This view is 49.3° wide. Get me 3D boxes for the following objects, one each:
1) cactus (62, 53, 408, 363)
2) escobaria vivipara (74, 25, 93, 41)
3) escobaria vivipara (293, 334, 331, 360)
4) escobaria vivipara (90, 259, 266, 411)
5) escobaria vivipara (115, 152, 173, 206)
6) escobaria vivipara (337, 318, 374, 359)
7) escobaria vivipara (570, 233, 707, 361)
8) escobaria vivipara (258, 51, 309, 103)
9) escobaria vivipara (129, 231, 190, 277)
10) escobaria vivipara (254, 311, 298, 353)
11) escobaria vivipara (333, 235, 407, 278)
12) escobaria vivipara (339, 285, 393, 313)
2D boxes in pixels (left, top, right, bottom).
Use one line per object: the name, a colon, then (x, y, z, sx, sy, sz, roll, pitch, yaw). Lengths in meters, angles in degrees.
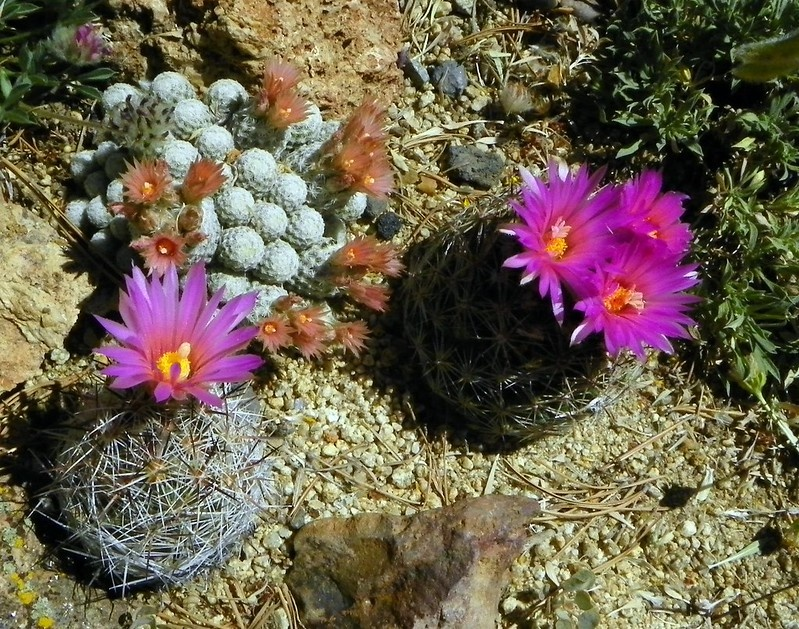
cactus: (-0.573, -0.325, 2.981, 0.973, 0.542, 0.986, 30, 71, -24)
escobaria vivipara: (-0.964, -0.858, 2.659, 0.044, 0.036, 0.056, 12, 79, -8)
escobaria vivipara: (-0.290, 0.092, 2.789, 0.086, 0.040, 0.088, 21, 101, -12)
escobaria vivipara: (-0.565, 0.063, 2.281, 0.410, 0.222, 0.364, 7, 54, -12)
escobaria vivipara: (-0.735, -0.384, 2.533, 0.146, 0.074, 0.148, 5, 91, -12)
escobaria vivipara: (-0.157, 0.074, 2.879, 0.113, 0.069, 0.114, 30, 88, -18)
escobaria vivipara: (0.646, -0.031, 2.399, 0.321, 0.142, 0.331, 25, 79, -10)
escobaria vivipara: (-0.369, -0.725, 2.716, 0.097, 0.171, 0.191, 16, 52, -5)
escobaria vivipara: (-0.678, -0.161, 2.511, 0.138, 0.059, 0.142, -8, 93, -5)
escobaria vivipara: (-0.389, 0.051, 2.706, 0.118, 0.051, 0.118, 10, 91, -22)
escobaria vivipara: (-0.101, -0.183, 2.754, 0.212, 0.156, 0.154, 9, 26, -9)
escobaria vivipara: (-0.102, -0.068, 2.827, 0.143, 0.062, 0.074, 27, 82, 7)
